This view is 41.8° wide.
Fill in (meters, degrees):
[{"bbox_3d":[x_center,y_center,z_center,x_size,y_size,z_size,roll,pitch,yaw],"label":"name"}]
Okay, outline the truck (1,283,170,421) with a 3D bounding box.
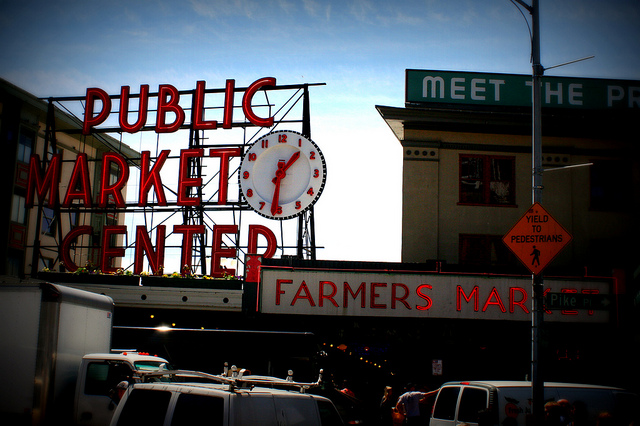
[{"bbox_3d":[-9.330,5.020,30.269,4.432,4.823,1.596,5,-9,-25],"label":"truck"}]
